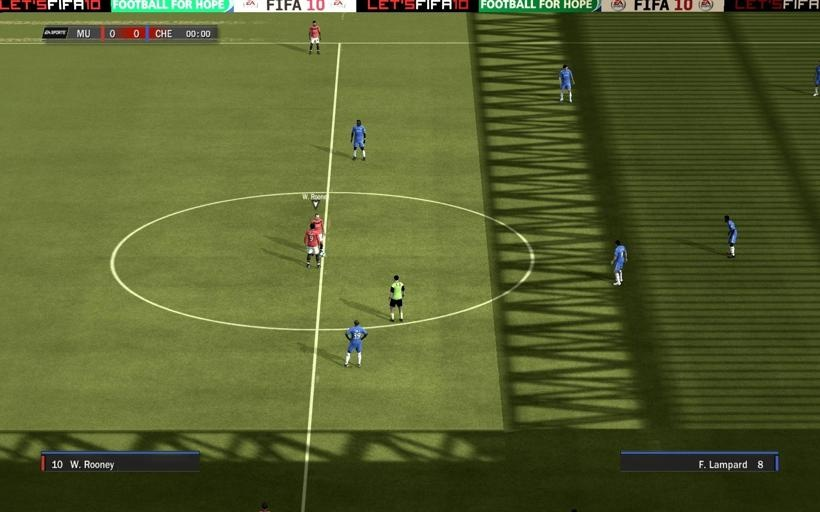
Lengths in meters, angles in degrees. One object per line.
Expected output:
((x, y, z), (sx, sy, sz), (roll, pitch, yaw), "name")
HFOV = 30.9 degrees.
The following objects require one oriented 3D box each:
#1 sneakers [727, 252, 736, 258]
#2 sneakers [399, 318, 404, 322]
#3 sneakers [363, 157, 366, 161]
((19.597, -0.070, 90.629), (0.522, 0.254, 0.235), (-9, 32, 6), "sneakers")
((-0.501, 3.698, 85.455), (0.247, 0.103, 0.199), (-2, 11, -6), "sneakers")
((-3.091, -6.542, 99.397), (0.260, 0.294, 0.191), (-7, 38, -4), "sneakers")
